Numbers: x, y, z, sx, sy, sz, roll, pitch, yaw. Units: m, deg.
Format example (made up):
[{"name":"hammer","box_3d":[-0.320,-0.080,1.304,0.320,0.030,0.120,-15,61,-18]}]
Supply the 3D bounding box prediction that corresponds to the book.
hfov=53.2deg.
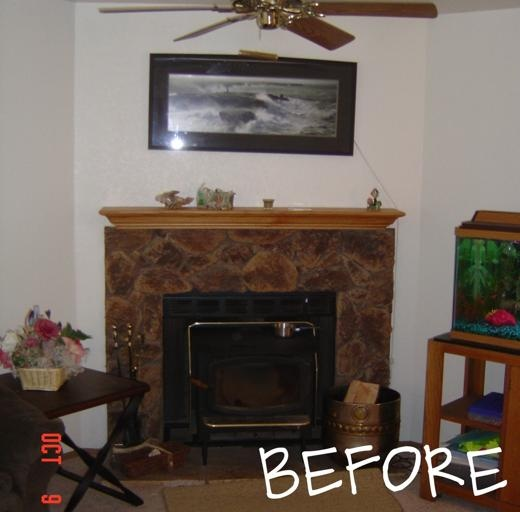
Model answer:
[{"name":"book","box_3d":[1.164,1.101,2.794,0.360,0.274,0.075,-14,1,-2]}]

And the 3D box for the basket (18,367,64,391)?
[{"name":"basket","box_3d":[-1.074,0.606,2.559,0.218,0.115,0.125,-3,7,-20]}]

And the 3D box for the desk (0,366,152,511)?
[{"name":"desk","box_3d":[-0.870,0.972,2.614,0.572,0.703,0.615,-6,9,-37]}]

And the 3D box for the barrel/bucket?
[{"name":"barrel/bucket","box_3d":[0.629,1.042,3.162,0.499,0.321,0.428,-2,-4,10]}]
